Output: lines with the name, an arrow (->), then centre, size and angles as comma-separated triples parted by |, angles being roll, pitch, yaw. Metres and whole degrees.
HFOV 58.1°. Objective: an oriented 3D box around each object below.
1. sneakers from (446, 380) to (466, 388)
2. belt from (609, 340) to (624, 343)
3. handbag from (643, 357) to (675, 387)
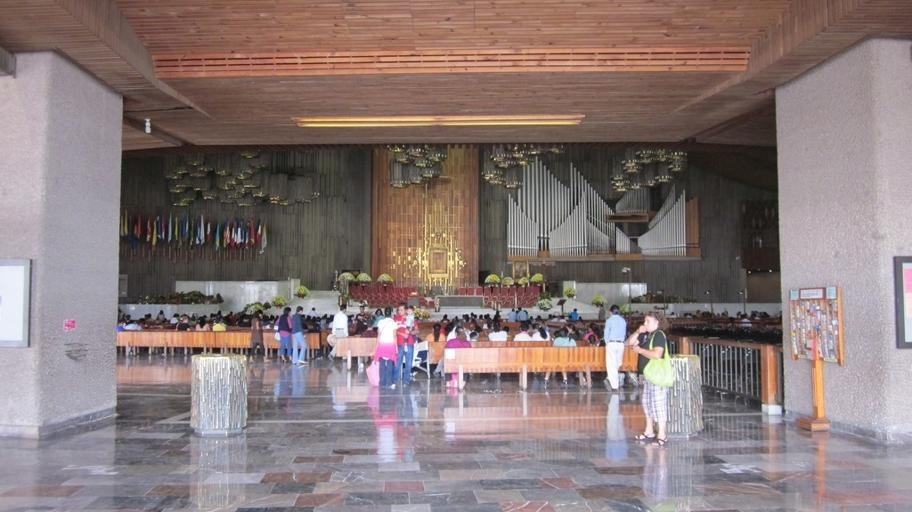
sneakers -> -0.003, 3.320, 21.039 | 0.377, 0.118, 0.270 | 1, -2, -1
belt -> 4.082, 2.179, 20.848 | 0.356, 0.070, 0.089 | 1, -5, -15
handbag -> 3.960, 2.283, 16.140 | 0.634, 0.717, 0.393 | 6, 5, 28
